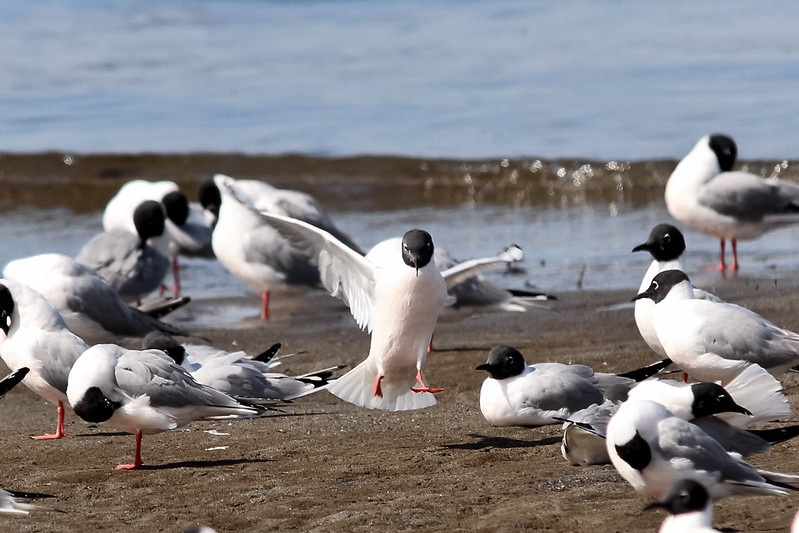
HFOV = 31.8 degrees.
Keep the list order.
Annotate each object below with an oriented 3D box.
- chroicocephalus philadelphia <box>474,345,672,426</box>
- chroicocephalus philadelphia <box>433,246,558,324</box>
[{"bbox_3d":[1.949,1.319,16.026,2.061,0.719,0.801,-7,-4,-1],"label":"chroicocephalus philadelphia"},{"bbox_3d":[1.262,0.427,20.227,1.462,0.702,1.349,-16,1,-29],"label":"chroicocephalus philadelphia"}]
